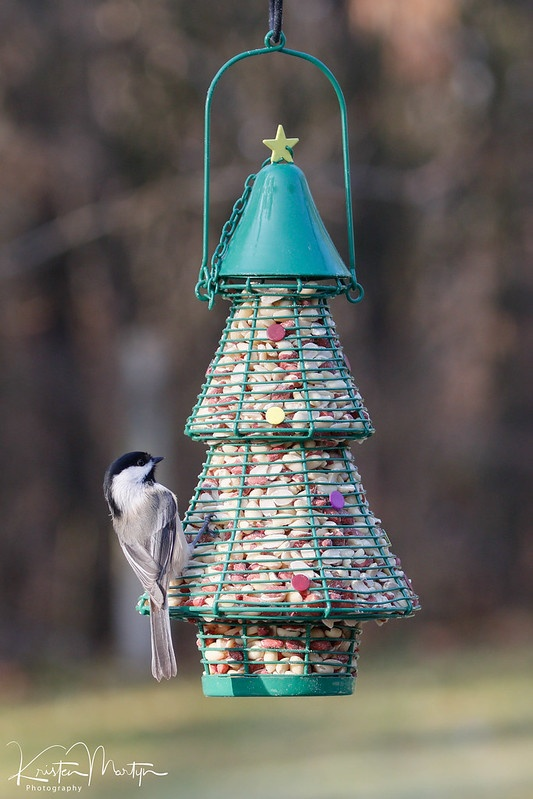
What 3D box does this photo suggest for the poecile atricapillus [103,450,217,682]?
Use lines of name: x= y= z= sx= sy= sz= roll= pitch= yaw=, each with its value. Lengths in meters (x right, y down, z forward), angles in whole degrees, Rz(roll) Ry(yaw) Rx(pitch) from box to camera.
poecile atricapillus: x=-0.441 y=0.581 z=5.552 sx=0.521 sy=1.013 sz=0.318 roll=0 pitch=-36 yaw=9
